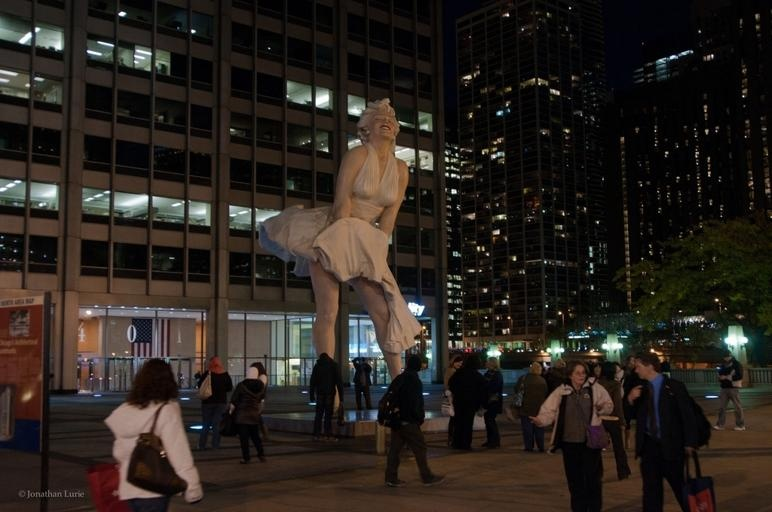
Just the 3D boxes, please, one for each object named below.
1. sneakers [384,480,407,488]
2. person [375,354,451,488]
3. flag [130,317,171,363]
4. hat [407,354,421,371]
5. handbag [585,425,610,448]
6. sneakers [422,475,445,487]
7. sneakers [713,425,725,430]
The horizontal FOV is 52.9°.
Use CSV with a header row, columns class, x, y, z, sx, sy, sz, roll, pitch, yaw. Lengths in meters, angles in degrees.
class,x,y,z,sx,sy,sz,roll,pitch,yaw
sneakers,0.176,5.274,17.912,0.412,0.167,0.158,0,-6,2
person,0.427,3.853,18.196,1.265,2.993,0.527,-1,-12,0
flag,-15.453,5.350,50.701,2.818,2.568,0.641,8,-15,-40
hat,0.653,2.644,18.695,0.339,0.390,0.393,-2,28,3
handbag,4.333,3.760,16.030,0.454,0.495,0.221,0,-12,-6
sneakers,1.076,5.208,18.086,0.539,0.247,0.192,-14,0,-10
sneakers,10.891,5.650,25.575,0.164,0.197,0.435,3,0,4
